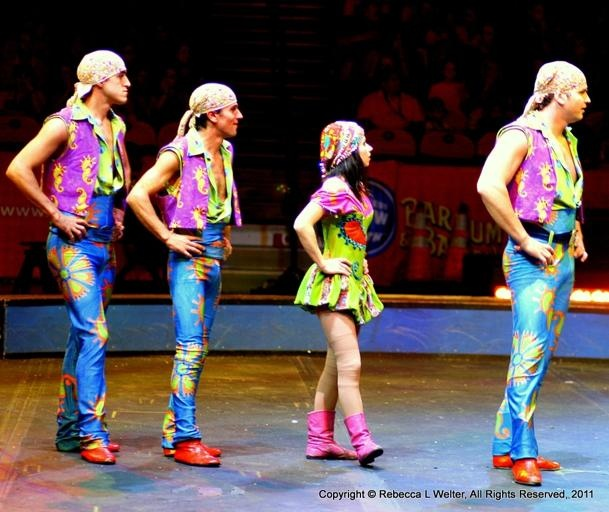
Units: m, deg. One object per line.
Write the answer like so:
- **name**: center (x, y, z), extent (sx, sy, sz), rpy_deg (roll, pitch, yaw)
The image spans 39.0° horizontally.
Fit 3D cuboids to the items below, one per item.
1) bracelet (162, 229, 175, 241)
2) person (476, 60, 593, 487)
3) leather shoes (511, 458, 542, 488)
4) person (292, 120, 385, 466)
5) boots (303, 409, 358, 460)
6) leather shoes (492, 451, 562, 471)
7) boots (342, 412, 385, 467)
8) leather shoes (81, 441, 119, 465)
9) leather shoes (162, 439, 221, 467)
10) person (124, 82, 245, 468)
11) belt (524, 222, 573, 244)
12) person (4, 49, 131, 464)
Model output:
- **bracelet**: center (-0.676, -0.100, 4.242), extent (0.066, 0.052, 0.074), rpy_deg (2, 0, -19)
- **person**: center (1.075, 0.053, 4.101), extent (0.450, 1.989, 0.632), rpy_deg (3, 8, 21)
- **leather shoes**: center (1.019, 1.004, 3.962), extent (0.113, 0.076, 0.232), rpy_deg (-1, -14, 3)
- **person**: center (0.175, 0.174, 4.350), extent (0.436, 1.749, 0.661), rpy_deg (0, 7, 3)
- **boots**: center (0.127, 0.945, 4.469), extent (0.372, 0.230, 0.128), rpy_deg (16, -24, -38)
- **leather shoes**: center (1.084, 1.013, 4.245), extent (0.350, 0.093, 0.098), rpy_deg (-2, -5, 9)
- **boots**: center (0.289, 0.897, 4.177), extent (0.083, 0.254, 0.191), rpy_deg (-5, 8, -31)
- **leather shoes**: center (-1.011, 0.989, 4.276), extent (0.093, 0.058, 0.195), rpy_deg (11, -15, -42)
- **leather shoes**: center (-0.557, 0.968, 4.280), extent (0.285, 0.119, 0.217), rpy_deg (-1, 5, -5)
- **person**: center (-0.603, 0.071, 4.381), extent (0.504, 1.915, 0.627), rpy_deg (1, 8, 7)
- **belt**: center (1.148, -0.127, 4.063), extent (0.155, 0.031, 0.149), rpy_deg (11, -1, 36)
- **person**: center (-1.166, -0.031, 4.354), extent (0.596, 2.068, 0.663), rpy_deg (-1, 8, -8)
